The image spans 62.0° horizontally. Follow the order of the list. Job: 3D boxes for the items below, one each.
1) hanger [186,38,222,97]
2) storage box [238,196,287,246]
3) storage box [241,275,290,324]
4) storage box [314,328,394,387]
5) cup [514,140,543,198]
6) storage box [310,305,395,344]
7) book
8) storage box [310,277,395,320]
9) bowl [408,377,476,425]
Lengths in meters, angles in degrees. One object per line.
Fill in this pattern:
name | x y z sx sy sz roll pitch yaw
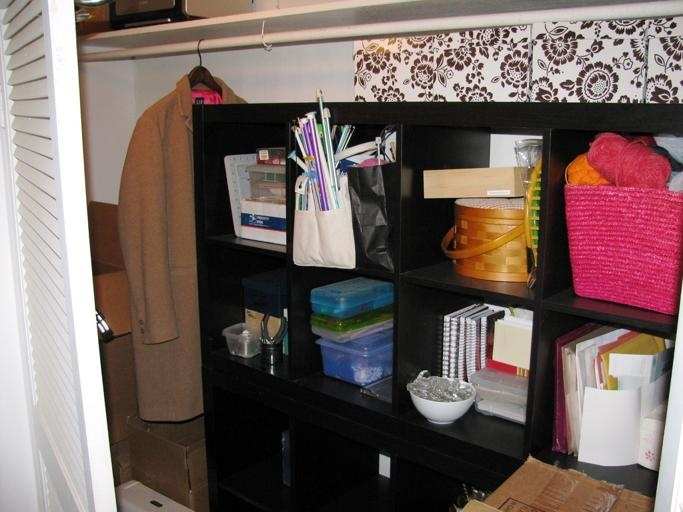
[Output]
hanger | -0.621 -0.847 2.600 0.141 0.252 0.705 -3 12 -11
storage box | -0.241 -0.148 2.287 0.312 0.155 0.320 2 10 -6
storage box | -0.316 0.158 2.406 0.191 0.123 0.196 8 14 40
storage box | 0.081 0.380 2.198 0.332 0.153 0.297 -2 8 -45
cup | 0.532 -0.258 1.622 0.070 0.149 0.302 3 12 17
storage box | 0.060 0.217 2.094 0.231 0.065 0.139 -12 18 -40
book | 0.460 0.274 1.818 0.266 0.091 0.201 -13 17 -41
storage box | 0.045 0.163 2.175 0.236 0.103 0.343 5 13 43
bowl | 0.312 0.464 1.811 0.200 0.106 0.208 0 10 0
